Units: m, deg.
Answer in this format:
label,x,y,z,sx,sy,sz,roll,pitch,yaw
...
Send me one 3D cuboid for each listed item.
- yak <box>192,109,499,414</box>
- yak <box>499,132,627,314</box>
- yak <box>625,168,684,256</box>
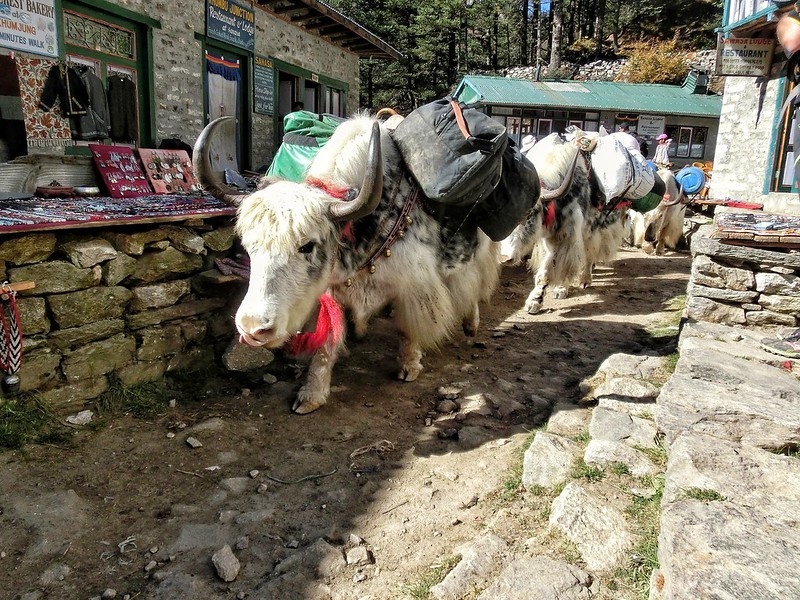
label,x,y,z,sx,sy,sz,roll,pitch,yaw
yak,-0.215,-0.217,3.301,0.747,1.914,2.033,14,24,36
yak,2.013,-0.977,5.807,1.022,1.820,2.762,9,29,41
yak,4.083,-1.367,7.566,0.662,1.098,2.066,0,32,36
